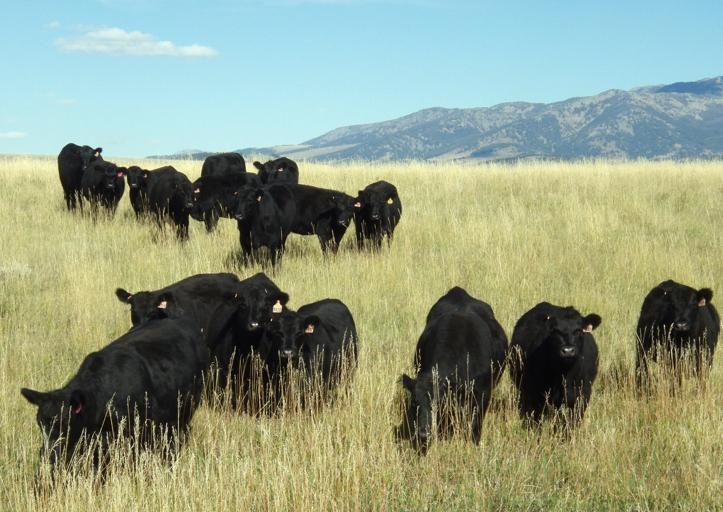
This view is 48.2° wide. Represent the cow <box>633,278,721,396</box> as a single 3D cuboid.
[{"bbox_3d":[4.506,0.970,11.531,0.718,1.334,2.325,1,-7,15],"label":"cow"}]

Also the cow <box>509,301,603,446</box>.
[{"bbox_3d":[2.553,1.487,11.052,1.128,1.614,1.003,12,19,40],"label":"cow"}]
